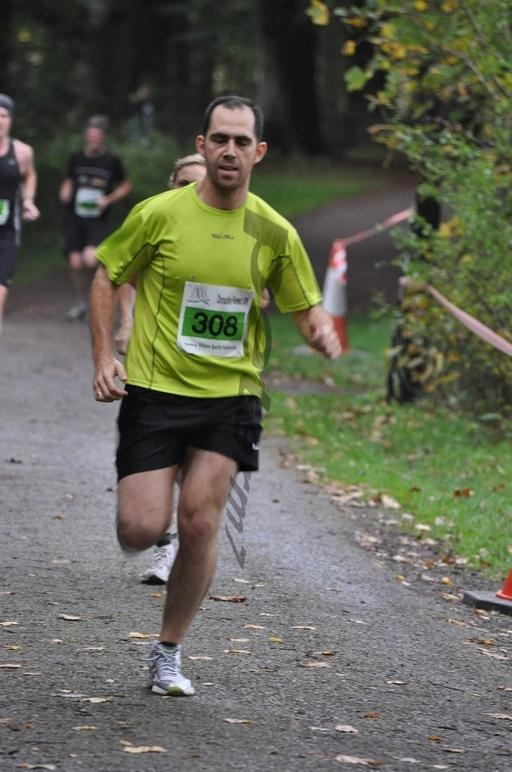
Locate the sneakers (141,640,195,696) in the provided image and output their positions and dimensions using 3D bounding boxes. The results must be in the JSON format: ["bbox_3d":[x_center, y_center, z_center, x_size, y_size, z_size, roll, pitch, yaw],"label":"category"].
[{"bbox_3d":[-0.275,0.880,2.803,0.097,0.098,0.217,-1,2,-18],"label":"sneakers"}]

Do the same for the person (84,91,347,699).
[{"bbox_3d":[-0.182,0.150,2.811,0.768,1.295,0.378,7,3,-10],"label":"person"}]

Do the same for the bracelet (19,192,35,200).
[{"bbox_3d":[-1.823,-1.481,7.078,0.102,0.084,0.095,-1,26,-3],"label":"bracelet"}]
